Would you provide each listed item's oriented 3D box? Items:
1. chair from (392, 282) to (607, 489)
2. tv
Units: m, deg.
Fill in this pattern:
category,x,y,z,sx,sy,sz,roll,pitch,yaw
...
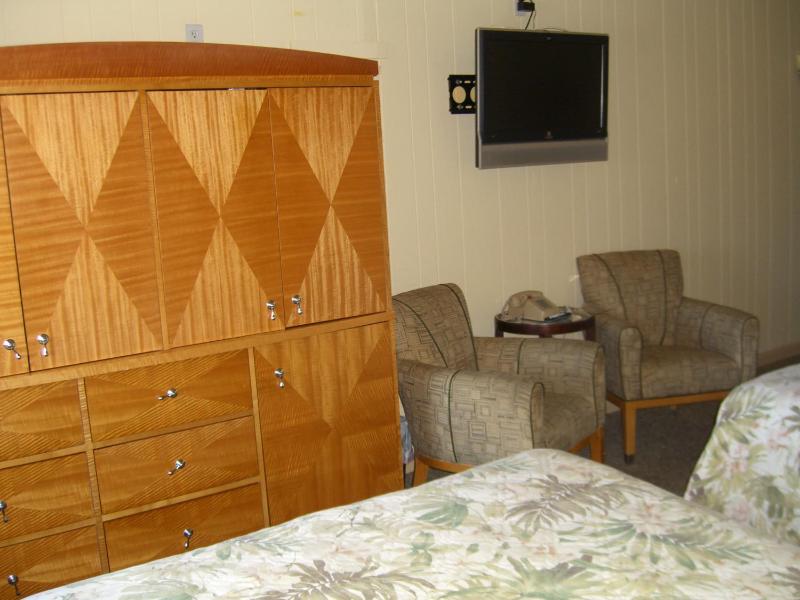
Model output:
category,x,y,z,sx,sy,sz,roll,pitch,yaw
chair,0.447,0.386,3.509,1.011,1.131,1.032,3,9,39
tv,0.854,-1.281,4.126,0.893,0.761,0.094,-7,14,-28
